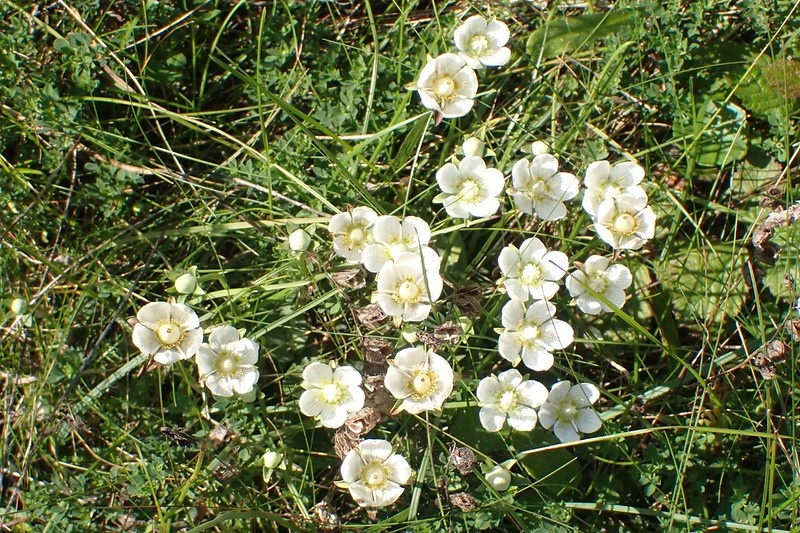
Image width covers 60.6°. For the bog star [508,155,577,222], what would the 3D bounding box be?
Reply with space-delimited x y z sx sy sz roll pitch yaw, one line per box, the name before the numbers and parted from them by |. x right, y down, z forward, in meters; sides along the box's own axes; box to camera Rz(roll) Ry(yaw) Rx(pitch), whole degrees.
bog star | 0.908 -0.561 4.363 0.370 0.394 0.171 26 93 41

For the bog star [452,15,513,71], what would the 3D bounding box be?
bog star | 0.531 -1.418 4.359 0.349 0.248 0.304 -21 64 1

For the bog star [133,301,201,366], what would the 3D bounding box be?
bog star | -1.344 0.372 3.992 0.344 0.218 0.326 -17 64 3
